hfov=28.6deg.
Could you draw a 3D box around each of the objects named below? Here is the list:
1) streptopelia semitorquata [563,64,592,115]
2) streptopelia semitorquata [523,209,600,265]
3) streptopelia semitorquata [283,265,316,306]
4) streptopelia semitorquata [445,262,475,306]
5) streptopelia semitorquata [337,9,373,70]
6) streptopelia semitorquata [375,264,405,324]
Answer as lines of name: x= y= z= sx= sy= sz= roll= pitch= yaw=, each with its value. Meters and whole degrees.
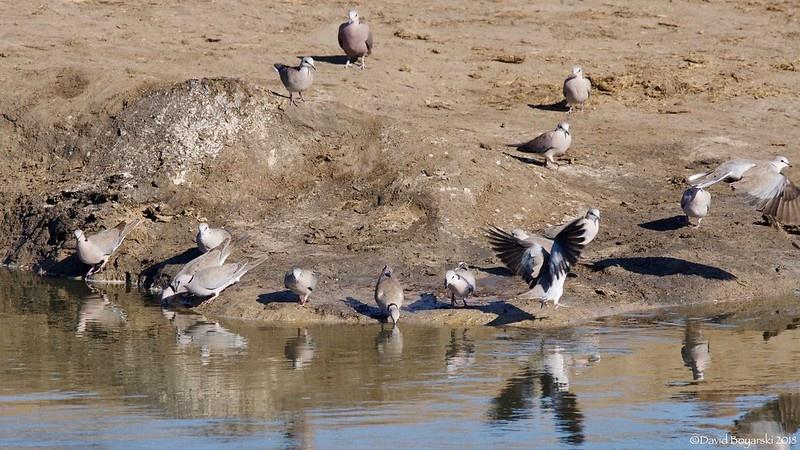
streptopelia semitorquata: x=5.085 y=-3.891 z=44.924 sx=0.772 sy=1.377 sz=0.923 roll=-4 pitch=16 yaw=6
streptopelia semitorquata: x=4.058 y=0.097 z=38.283 sx=2.561 sy=1.241 sz=0.747 roll=2 pitch=26 yaw=12
streptopelia semitorquata: x=-2.431 y=1.446 z=37.593 sx=0.591 sy=0.679 sz=1.121 roll=4 pitch=33 yaw=12
streptopelia semitorquata: x=1.468 y=1.500 z=37.641 sx=0.711 sy=0.973 sz=0.983 roll=-5 pitch=15 yaw=2
streptopelia semitorquata: x=-1.317 y=-5.480 z=46.467 sx=0.949 sy=1.714 sz=0.877 roll=-5 pitch=16 yaw=3
streptopelia semitorquata: x=-0.222 y=1.684 z=37.441 sx=0.569 sy=0.786 sz=1.309 roll=-10 pitch=40 yaw=6
